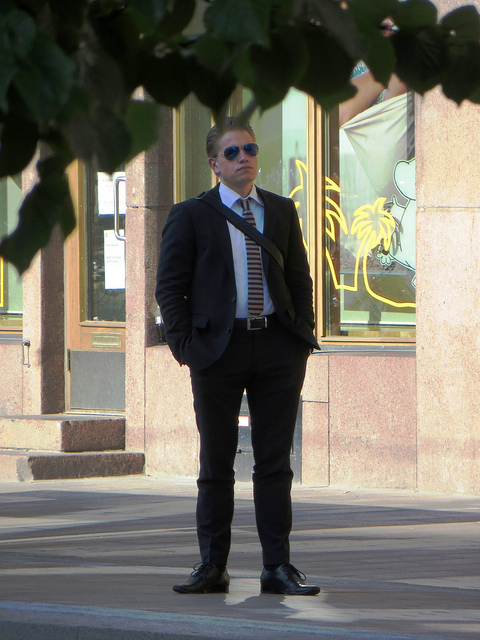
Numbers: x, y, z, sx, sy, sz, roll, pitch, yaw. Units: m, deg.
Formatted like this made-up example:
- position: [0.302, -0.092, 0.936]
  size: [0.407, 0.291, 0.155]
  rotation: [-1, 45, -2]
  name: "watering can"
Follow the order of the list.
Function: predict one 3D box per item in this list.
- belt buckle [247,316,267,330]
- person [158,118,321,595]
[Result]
- position: [0.043, 0.005, 4.228]
  size: [0.030, 0.040, 0.010]
  rotation: [0, -5, -5]
  name: "belt buckle"
- position: [0.014, 0.135, 4.283]
  size: [0.435, 0.881, 0.411]
  rotation: [1, -1, -13]
  name: "person"
